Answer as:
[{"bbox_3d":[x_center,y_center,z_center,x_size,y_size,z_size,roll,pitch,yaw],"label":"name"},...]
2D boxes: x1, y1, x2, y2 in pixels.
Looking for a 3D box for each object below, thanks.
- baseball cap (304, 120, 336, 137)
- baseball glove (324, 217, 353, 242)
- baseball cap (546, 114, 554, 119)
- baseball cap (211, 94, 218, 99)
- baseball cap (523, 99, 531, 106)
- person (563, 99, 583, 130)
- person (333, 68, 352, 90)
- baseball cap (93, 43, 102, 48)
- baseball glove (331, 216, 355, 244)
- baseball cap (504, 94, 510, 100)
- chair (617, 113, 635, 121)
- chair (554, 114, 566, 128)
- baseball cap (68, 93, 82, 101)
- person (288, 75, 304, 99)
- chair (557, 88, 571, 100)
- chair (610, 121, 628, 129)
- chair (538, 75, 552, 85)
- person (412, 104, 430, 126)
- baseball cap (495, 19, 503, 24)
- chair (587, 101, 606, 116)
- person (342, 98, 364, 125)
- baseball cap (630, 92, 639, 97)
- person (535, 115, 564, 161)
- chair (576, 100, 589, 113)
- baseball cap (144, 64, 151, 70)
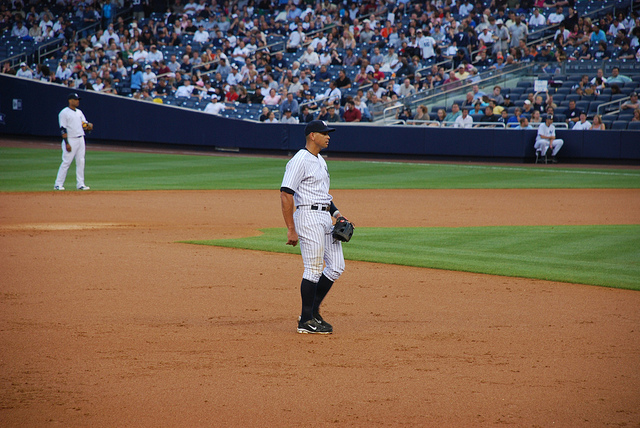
[{"bbox_3d":[-0.020,-1.150,11.078,0.323,0.152,0.195,-3,15,1],"label":"baseball cap"},{"bbox_3d":[0.337,0.198,11.117,0.278,0.330,0.369,36,29,30],"label":"baseball glove"},{"bbox_3d":[7.079,-2.991,25.401,0.193,0.139,0.163,4,6,10],"label":"baseball cap"},{"bbox_3d":[-4.021,-4.437,31.310,0.202,0.163,0.229,-1,7,0],"label":"baseball cap"},{"bbox_3d":[6.597,-3.542,26.228,0.182,0.084,0.124,22,1,-23],"label":"baseball cap"},{"bbox_3d":[7.914,-3.104,25.796,0.541,0.896,0.438,5,7,17],"label":"person"},{"bbox_3d":[0.903,-5.094,31.102,0.670,0.853,1.434,4,6,8],"label":"person"},{"bbox_3d":[-9.659,-7.337,36.069,0.420,0.128,0.271,17,20,42],"label":"baseball cap"},{"bbox_3d":[0.311,0.203,11.204,0.278,0.327,0.353,27,-24,-25],"label":"baseball glove"},{"bbox_3d":[6.116,-3.777,26.942,0.173,0.214,0.218,5,35,1],"label":"baseball cap"},{"bbox_3d":[9.381,-2.975,25.280,0.303,0.282,0.278,5,-6,18],"label":"chair"},{"bbox_3d":[7.669,-2.935,25.954,0.374,0.461,0.427,1,4,8],"label":"chair"},{"bbox_3d":[-5.809,-2.750,19.479,0.294,0.148,0.175,2,7,11],"label":"baseball cap"},{"bbox_3d":[-0.876,-4.757,30.936,0.572,0.828,0.953,2,6,-10],"label":"person"},{"bbox_3d":[7.981,-3.901,26.964,0.396,0.448,0.415,6,11,19],"label":"chair"},{"bbox_3d":[9.151,-2.714,25.257,0.267,0.240,0.262,8,16,26],"label":"chair"},{"bbox_3d":[7.573,-4.545,27.836,0.382,0.441,0.385,8,17,23],"label":"chair"},{"bbox_3d":[3.478,-3.372,28.259,0.565,0.738,0.817,4,6,6],"label":"person"},{"bbox_3d":[6.450,-6.871,29.598,0.293,0.137,0.188,11,24,4],"label":"baseball cap"},{"bbox_3d":[8.702,-3.331,26.162,0.467,0.551,0.505,6,8,41],"label":"chair"},{"bbox_3d":[1.106,-3.592,29.374,0.580,0.789,0.870,-14,14,-42],"label":"person"},{"bbox_3d":[9.527,-3.626,25.034,0.231,0.106,0.292,-10,4,7],"label":"baseball cap"},{"bbox_3d":[7.199,-2.364,25.778,0.758,1.325,0.703,2,7,-11],"label":"person"},{"bbox_3d":[8.387,-3.453,26.273,0.308,0.401,0.368,1,6,31],"label":"chair"},{"bbox_3d":[-7.117,-6.043,34.039,0.265,0.114,0.321,-1,7,-1],"label":"baseball cap"}]
